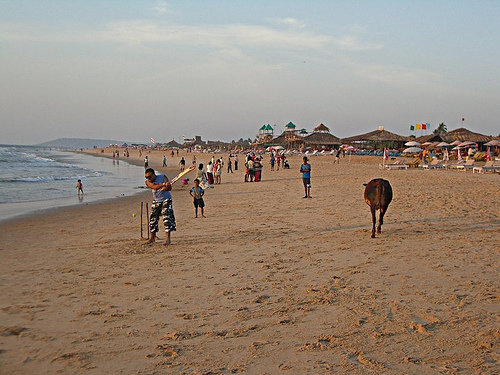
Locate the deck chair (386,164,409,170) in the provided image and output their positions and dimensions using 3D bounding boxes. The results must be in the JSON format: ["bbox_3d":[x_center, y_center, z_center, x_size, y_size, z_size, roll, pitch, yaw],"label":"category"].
[{"bbox_3d":[11.290,-1.719,35.992,1.647,0.367,1.046,2,14,13],"label":"deck chair"}]

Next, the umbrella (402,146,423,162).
[{"bbox_3d":[16.911,-3.938,48.916,1.498,0.732,2.958,1,14,10],"label":"umbrella"}]

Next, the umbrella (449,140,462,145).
[{"bbox_3d":[21.023,-4.741,48.157,0.812,0.387,0.882,8,13,42],"label":"umbrella"}]

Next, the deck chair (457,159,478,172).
[{"bbox_3d":[15.359,-1.488,33.019,0.960,0.240,0.889,-32,8,-24],"label":"deck chair"}]

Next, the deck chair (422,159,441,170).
[{"bbox_3d":[14.073,-1.809,35.787,1.245,0.808,0.748,-1,0,-41],"label":"deck chair"}]

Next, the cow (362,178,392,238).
[{"bbox_3d":[3.144,0.306,11.587,0.581,1.287,2.083,1,12,11],"label":"cow"}]

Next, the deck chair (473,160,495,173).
[{"bbox_3d":[15.812,-1.467,31.522,1.238,0.905,0.687,-2,2,-15],"label":"deck chair"}]
